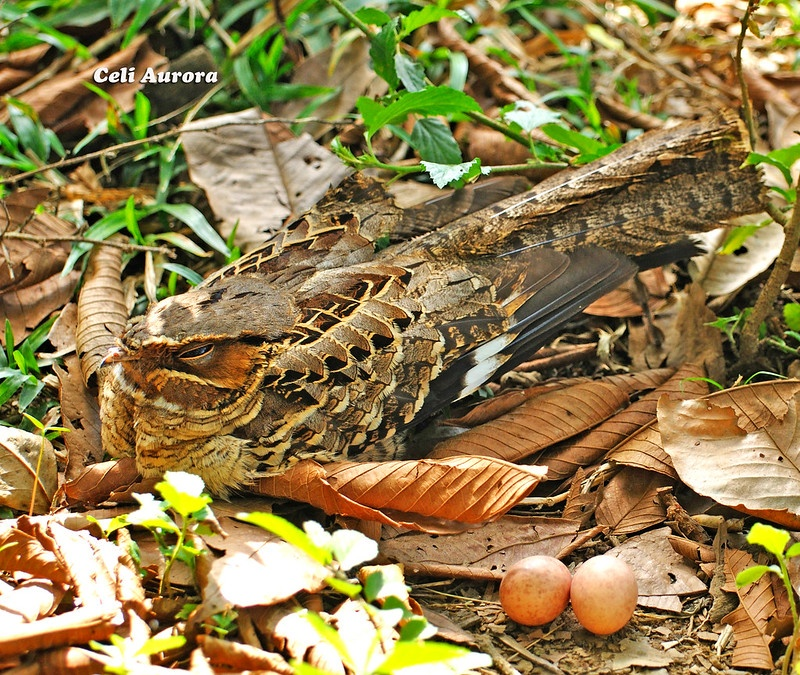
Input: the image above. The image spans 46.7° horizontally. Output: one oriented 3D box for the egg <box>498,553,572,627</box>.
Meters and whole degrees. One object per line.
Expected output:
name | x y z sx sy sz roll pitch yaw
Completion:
egg | 0.448 0.838 3.071 0.215 0.189 0.197 24 37 20
